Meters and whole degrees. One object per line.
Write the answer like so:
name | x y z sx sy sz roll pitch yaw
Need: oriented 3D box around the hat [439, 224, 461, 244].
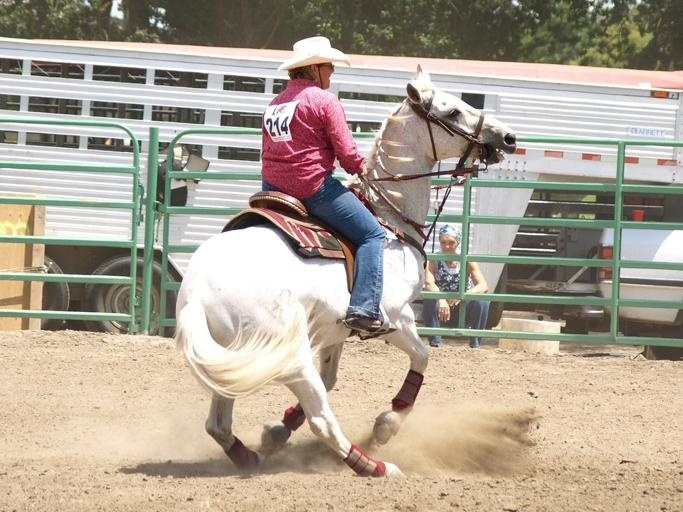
hat | 1.419 -0.284 16.123 0.239 0.177 0.259 4 5 2

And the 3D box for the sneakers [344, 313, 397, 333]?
sneakers | 0.249 0.705 12.447 0.579 0.212 0.170 12 47 -13

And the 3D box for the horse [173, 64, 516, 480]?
horse | -0.146 0.266 13.074 4.675 4.019 2.114 -10 11 -43

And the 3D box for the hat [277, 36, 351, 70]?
hat | -0.291 -2.127 12.688 0.552 0.204 0.448 -7 -3 3
